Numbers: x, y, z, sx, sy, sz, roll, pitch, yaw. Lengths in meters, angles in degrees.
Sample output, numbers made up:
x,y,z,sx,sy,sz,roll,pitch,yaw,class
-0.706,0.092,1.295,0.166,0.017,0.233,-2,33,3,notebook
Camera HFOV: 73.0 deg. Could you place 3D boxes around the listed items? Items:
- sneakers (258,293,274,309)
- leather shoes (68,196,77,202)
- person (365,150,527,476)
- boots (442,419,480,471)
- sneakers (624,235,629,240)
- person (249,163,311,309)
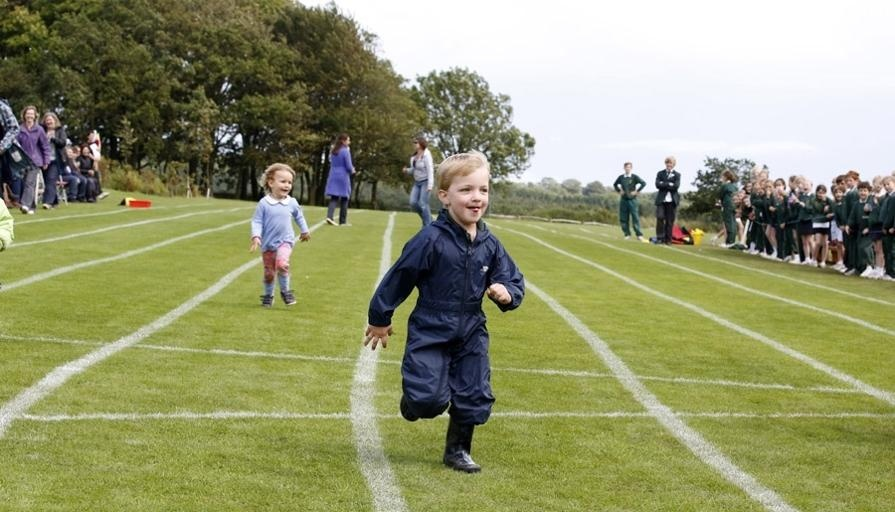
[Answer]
x,y,z,sx,sy,sz,roll,pitch,yaw,class
-2.767,0.708,9.271,0.210,0.222,0.547,1,-5,-8,sneakers
-13.367,-2.044,21.557,0.289,0.205,0.214,-6,16,-36,leather shoes
0.040,0.405,5.386,1.064,2.621,1.033,11,15,29,person
0.131,1.612,5.157,0.313,0.374,0.264,3,13,-2,boots
7.129,-0.717,23.920,0.184,0.207,0.525,0,-2,12,sneakers
-2.587,-0.318,9.319,0.769,2.158,0.828,1,14,-9,person
